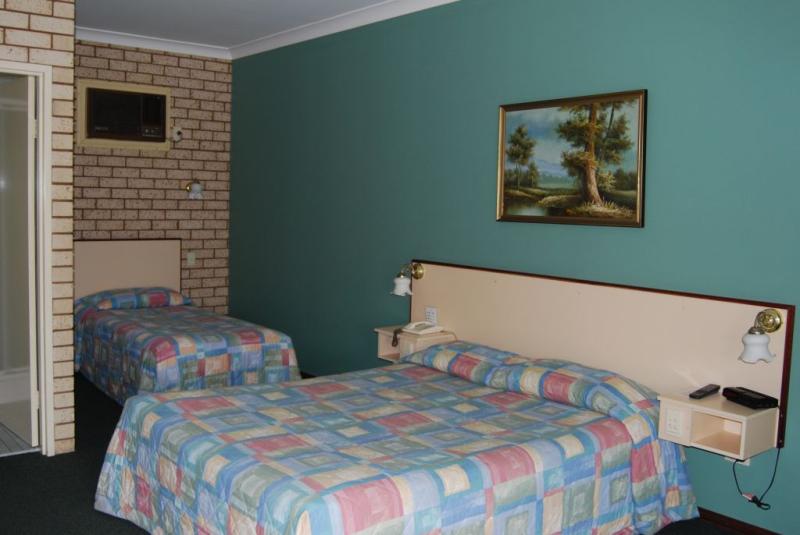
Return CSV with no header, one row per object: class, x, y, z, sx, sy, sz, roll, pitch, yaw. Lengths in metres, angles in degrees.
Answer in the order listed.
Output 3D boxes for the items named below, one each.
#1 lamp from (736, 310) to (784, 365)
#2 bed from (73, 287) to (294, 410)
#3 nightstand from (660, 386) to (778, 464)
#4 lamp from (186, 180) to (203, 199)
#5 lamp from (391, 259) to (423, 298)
lamp,2.174,0.430,3.536,0.178,0.359,0.241,10,13,36
bed,-2.351,0.683,5.697,1.207,0.599,1.859,-4,6,-38
nightstand,1.987,0.841,3.575,0.462,0.278,0.547,-2,6,-37
lamp,-2.534,-0.960,7.209,0.210,0.230,0.188,-3,12,-26
lamp,0.003,0.109,5.395,0.260,0.361,0.404,-5,13,-33
